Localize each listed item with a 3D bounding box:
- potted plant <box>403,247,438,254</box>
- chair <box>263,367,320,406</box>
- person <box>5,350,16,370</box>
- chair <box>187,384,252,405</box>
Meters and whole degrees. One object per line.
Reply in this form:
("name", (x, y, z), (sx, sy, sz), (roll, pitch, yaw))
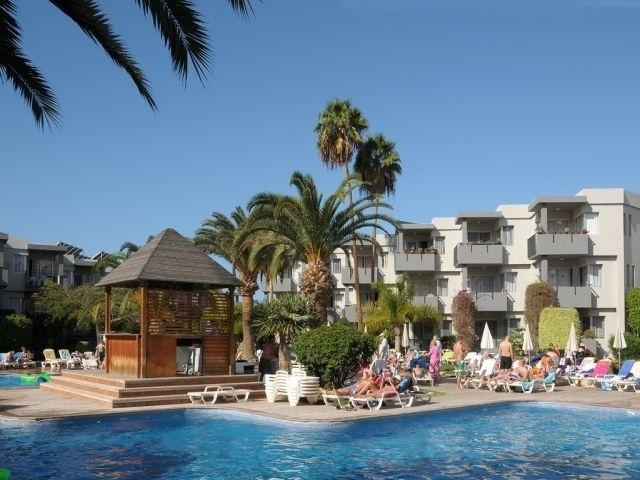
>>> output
("potted plant", (8.207, 0.919, 50.257), (2.559, 0.617, 0.783), (-2, -11, 0))
("chair", (-0.833, 4.612, 19.479), (1.014, 1.117, 1.790), (8, -15, -42))
("person", (-18.703, 7.319, 37.666), (0.454, 1.142, 0.825), (14, 6, 39))
("chair", (-3.277, 5.069, 20.149), (1.438, 0.462, 0.824), (1, -4, -32))
